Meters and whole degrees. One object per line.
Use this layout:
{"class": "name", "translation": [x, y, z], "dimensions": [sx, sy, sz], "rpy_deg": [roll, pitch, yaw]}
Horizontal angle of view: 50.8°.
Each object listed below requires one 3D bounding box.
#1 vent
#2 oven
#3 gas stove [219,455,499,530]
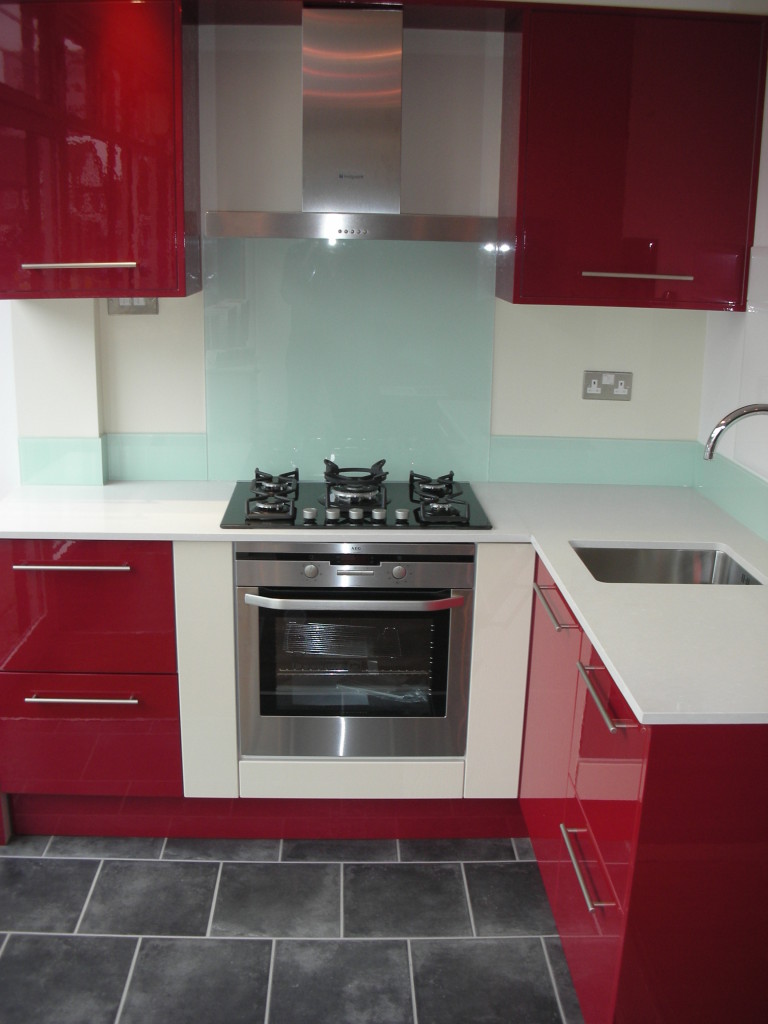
{"class": "vent", "translation": [-0.061, -1.067, 2.187], "dimensions": [0.574, 0.504, 0.307], "rpy_deg": [-1, 19, -2]}
{"class": "oven", "translation": [-0.094, 0.357, 2.331], "dimensions": [0.679, 0.638, 0.525], "rpy_deg": [3, 13, 4]}
{"class": "gas stove", "translation": [-0.088, -0.065, 2.336], "dimensions": [0.748, 0.149, 0.571], "rpy_deg": [1, 8, -2]}
